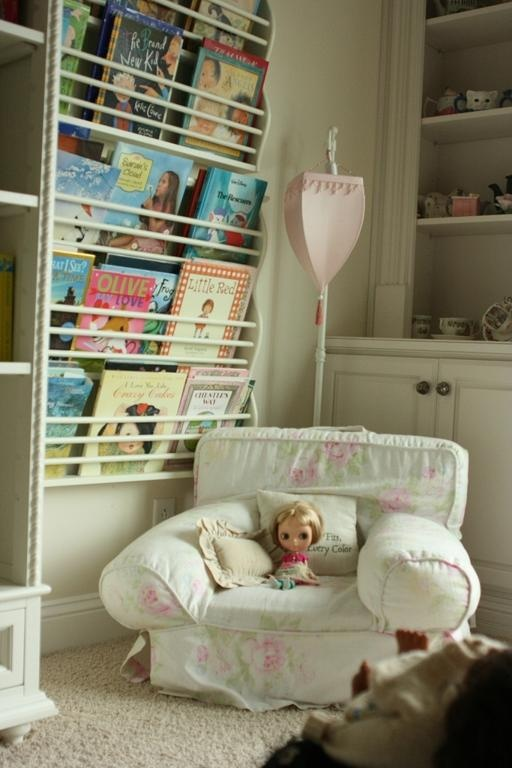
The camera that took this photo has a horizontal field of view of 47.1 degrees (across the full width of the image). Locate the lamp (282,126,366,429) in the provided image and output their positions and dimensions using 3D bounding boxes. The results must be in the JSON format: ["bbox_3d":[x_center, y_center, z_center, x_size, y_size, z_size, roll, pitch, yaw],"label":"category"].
[{"bbox_3d":[0.231,-0.411,2.253,0.282,1.141,0.380,1,-1,-7],"label":"lamp"}]

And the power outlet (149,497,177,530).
[{"bbox_3d":[-0.332,0.452,2.061,0.029,0.128,0.115,2,3,40],"label":"power outlet"}]

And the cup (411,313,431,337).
[{"bbox_3d":[0.752,-0.258,2.679,0.086,0.105,0.104,1,-1,6],"label":"cup"}]

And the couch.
[{"bbox_3d":[0.145,0.508,1.667,0.933,0.582,0.814,0,1,13],"label":"couch"}]
